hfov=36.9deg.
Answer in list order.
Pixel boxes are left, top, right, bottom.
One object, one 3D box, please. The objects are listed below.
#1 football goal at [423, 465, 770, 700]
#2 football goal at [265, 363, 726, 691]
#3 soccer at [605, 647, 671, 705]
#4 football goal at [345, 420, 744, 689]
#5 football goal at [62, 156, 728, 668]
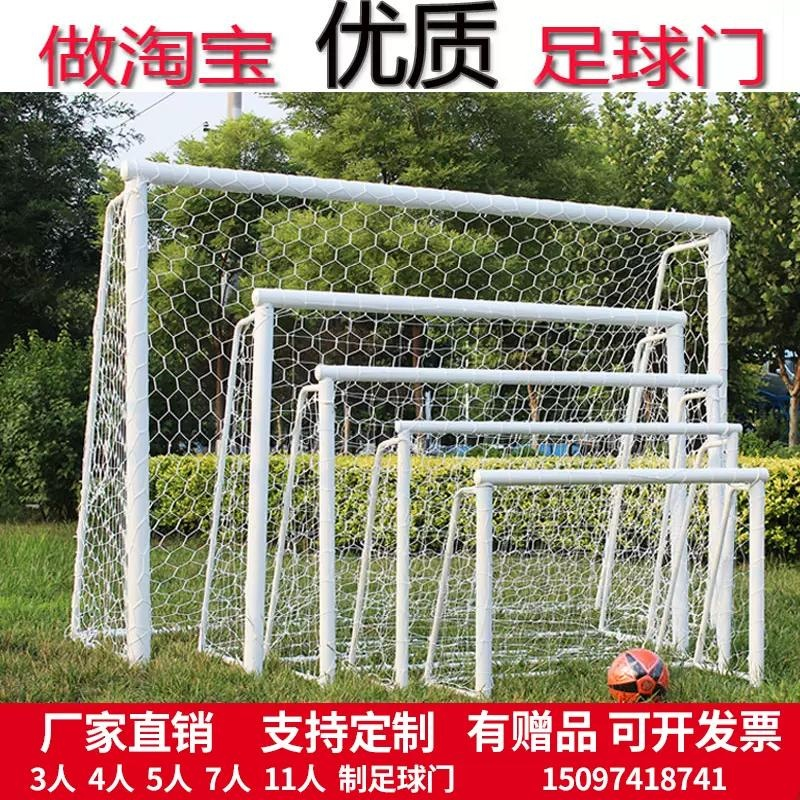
[{"bbox_3d":[1.169,0.937,6.944,1.772,1.120,0.784,0,0,-16],"label":"football goal"},{"bbox_3d":[1.144,0.725,8.348,3.190,1.858,2.872,0,0,1],"label":"football goal"},{"bbox_3d":[1.319,1.490,6.477,0.281,0.268,0.278,35,-26,-29],"label":"soccer"},{"bbox_3d":[1.379,0.907,9.073,2.304,1.421,1.879,-4,-7,41],"label":"football goal"},{"bbox_3d":[-0.027,0.076,9.835,5.241,3.551,1.734,3,-9,-21],"label":"football goal"}]
